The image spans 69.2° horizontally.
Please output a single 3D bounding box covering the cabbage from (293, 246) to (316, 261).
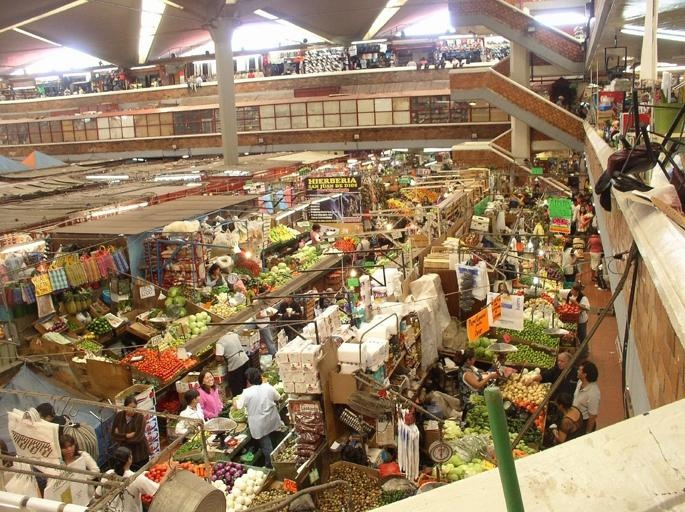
[{"bbox_3d":[-0.936,-0.055,12.203,0.360,0.142,0.364,-10,11,29],"label":"cabbage"}]

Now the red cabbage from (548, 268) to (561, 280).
[{"bbox_3d":[4.560,0.393,10.630,0.165,0.057,0.169,-11,56,35],"label":"red cabbage"}]

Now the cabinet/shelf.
[{"bbox_3d":[-1.523,0.992,7.931,8.087,0.569,0.456,-37,57,-14],"label":"cabinet/shelf"}]

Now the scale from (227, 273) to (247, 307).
[{"bbox_3d":[-2.082,0.683,9.663,0.233,0.251,0.758,28,25,-31],"label":"scale"}]

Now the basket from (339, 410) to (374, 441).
[{"bbox_3d":[0.172,1.992,5.800,0.105,0.480,0.271,-39,26,42],"label":"basket"}]

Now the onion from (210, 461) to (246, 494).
[{"bbox_3d":[-1.355,2.580,5.889,0.385,0.112,0.364,0,40,22],"label":"onion"}]
